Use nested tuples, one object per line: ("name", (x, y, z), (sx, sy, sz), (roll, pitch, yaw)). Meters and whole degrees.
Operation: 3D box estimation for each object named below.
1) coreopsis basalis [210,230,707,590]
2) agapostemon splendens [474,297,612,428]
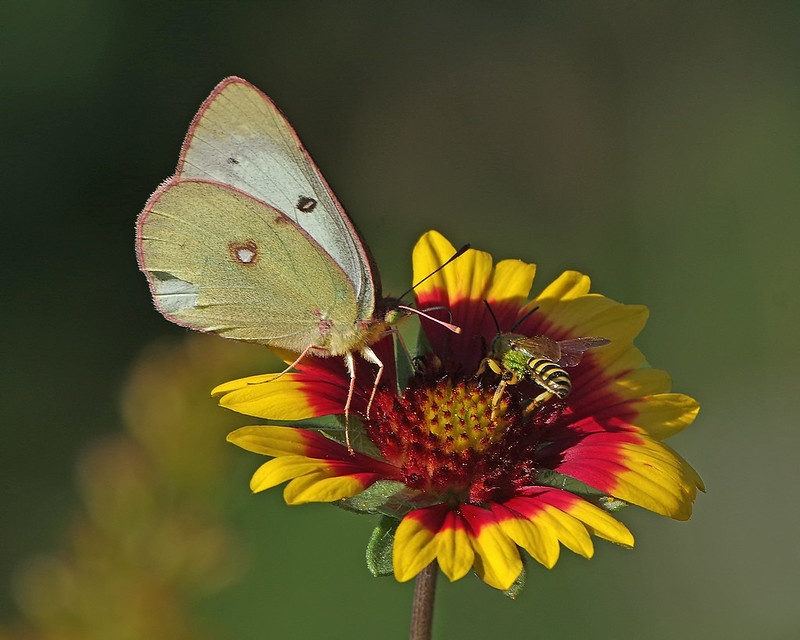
("coreopsis basalis", (0.325, 0.286, 2.985), (1.211, 0.346, 1.246), (-17, 54, -27))
("agapostemon splendens", (0.438, 0.138, 2.848), (0.296, 0.317, 0.351), (1, 1, 10))
